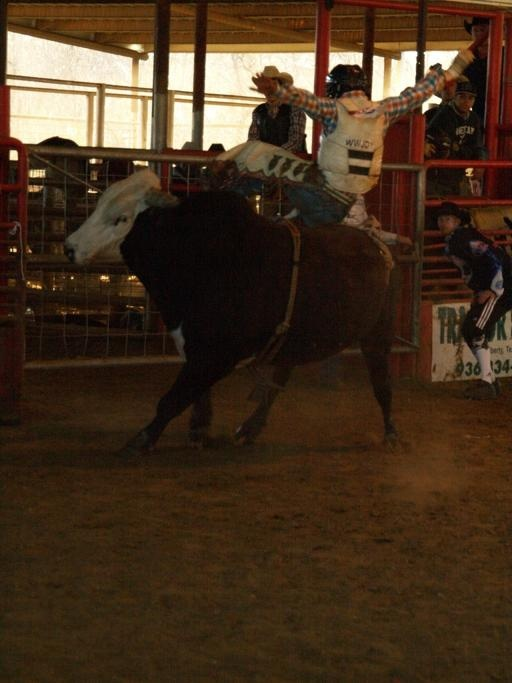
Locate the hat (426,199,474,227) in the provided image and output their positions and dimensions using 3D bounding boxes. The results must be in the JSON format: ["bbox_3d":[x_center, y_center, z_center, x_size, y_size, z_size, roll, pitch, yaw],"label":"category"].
[{"bbox_3d":[1.711,-1.159,6.205,0.404,0.115,0.322,7,-7,5],"label":"hat"}]

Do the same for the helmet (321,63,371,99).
[{"bbox_3d":[0.572,-1.598,4.362,0.285,0.219,0.204,5,7,31],"label":"helmet"}]

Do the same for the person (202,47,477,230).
[{"bbox_3d":[0.400,-1.340,4.656,1.661,1.301,0.907,-18,43,-32],"label":"person"}]

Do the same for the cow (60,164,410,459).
[{"bbox_3d":[-0.029,-0.149,4.162,2.626,1.523,0.718,2,11,-14],"label":"cow"}]

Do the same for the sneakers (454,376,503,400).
[{"bbox_3d":[1.949,0.407,5.907,0.514,0.177,0.170,1,0,-29],"label":"sneakers"}]
